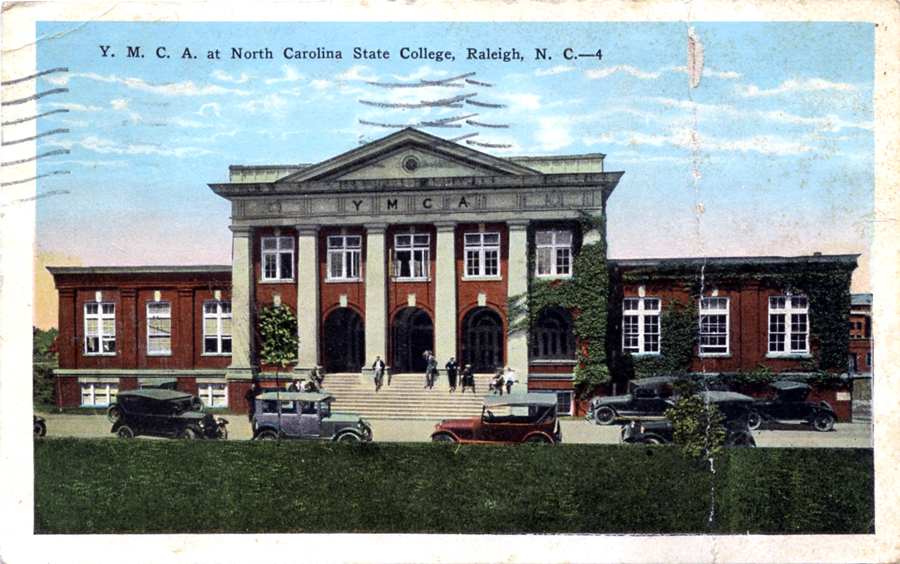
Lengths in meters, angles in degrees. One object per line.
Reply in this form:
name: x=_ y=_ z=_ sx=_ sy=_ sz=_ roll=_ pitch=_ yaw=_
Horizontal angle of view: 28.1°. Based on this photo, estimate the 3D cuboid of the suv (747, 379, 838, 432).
suv: x=13.124 y=4.873 z=67.789 sx=4.559 sy=2.155 sz=2.294 roll=1 pitch=-1 yaw=15

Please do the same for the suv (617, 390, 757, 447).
suv: x=8.944 y=5.138 z=67.604 sx=4.977 sy=2.093 sz=1.339 roll=-2 pitch=-5 yaw=11
